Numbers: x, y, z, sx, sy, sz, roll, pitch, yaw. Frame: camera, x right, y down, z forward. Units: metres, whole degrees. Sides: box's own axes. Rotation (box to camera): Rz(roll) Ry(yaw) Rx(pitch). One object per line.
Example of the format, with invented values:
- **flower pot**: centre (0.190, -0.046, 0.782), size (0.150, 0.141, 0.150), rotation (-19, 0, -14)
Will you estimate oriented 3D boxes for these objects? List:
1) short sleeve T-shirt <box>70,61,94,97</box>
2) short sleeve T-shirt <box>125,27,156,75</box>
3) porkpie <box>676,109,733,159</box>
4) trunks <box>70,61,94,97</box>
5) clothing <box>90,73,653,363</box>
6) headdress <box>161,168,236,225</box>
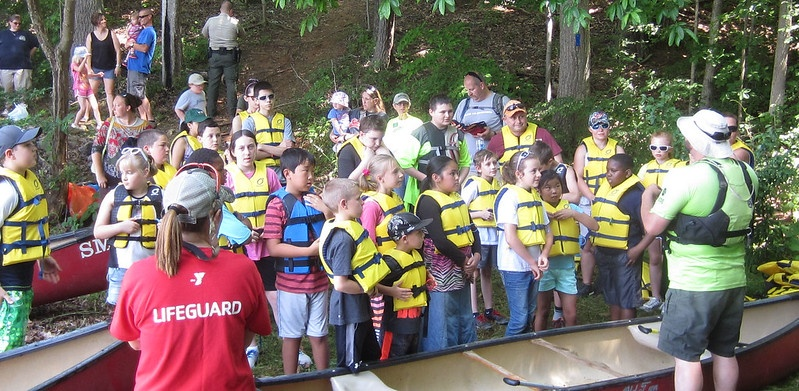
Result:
- **short sleeve T-shirt**: centre (-7.557, -2.801, 17.117), size (0.354, 1.003, 0.370), rotation (-22, 44, -7)
- **short sleeve T-shirt**: centre (-6.212, -3.498, 17.248), size (0.674, 1.106, 0.463), rotation (-4, 7, -19)
- **porkpie**: centre (4.705, -0.946, 10.877), size (0.686, 0.782, 0.417), rotation (-12, -21, -37)
- **trunks**: centre (-7.632, -2.760, 17.126), size (0.518, 0.803, 0.235), rotation (1, 7, 21)
- **clothing**: centre (-0.230, 0.491, 12.066), size (6.564, 1.612, 6.422), rotation (5, 49, 10)
- **headdress**: centre (-2.750, -0.031, 9.856), size (0.641, 0.467, 0.834), rotation (5, 29, 15)
